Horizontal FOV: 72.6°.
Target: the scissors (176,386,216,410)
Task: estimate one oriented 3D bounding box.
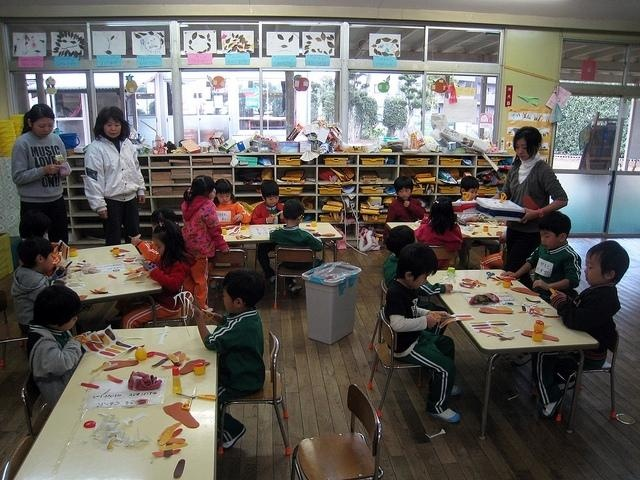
[{"bbox_3d":[-0.605,0.742,2.095,0.183,0.041,0.145,-8,15,-24],"label":"scissors"}]

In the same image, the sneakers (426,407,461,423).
[{"bbox_3d":[0.876,1.190,2.980,0.153,0.052,0.088,2,10,29],"label":"sneakers"}]

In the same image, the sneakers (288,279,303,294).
[{"bbox_3d":[-0.278,0.521,4.956,0.082,0.168,0.239,2,-15,-26],"label":"sneakers"}]

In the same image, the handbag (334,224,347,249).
[{"bbox_3d":[0.314,-0.037,6.547,0.229,0.294,0.091,-3,-1,4],"label":"handbag"}]

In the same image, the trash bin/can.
[{"bbox_3d":[0.089,0.569,3.873,0.415,0.554,0.571,12,21,35],"label":"trash bin/can"}]

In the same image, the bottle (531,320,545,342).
[{"bbox_3d":[1.337,0.542,2.670,0.064,0.101,0.172,5,16,27],"label":"bottle"}]

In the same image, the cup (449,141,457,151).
[{"bbox_3d":[2.047,-1.489,6.782,0.114,0.119,0.124,-1,12,0],"label":"cup"}]

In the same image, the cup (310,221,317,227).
[{"bbox_3d":[-0.075,-0.202,4.997,0.060,0.048,0.058,1,7,0],"label":"cup"}]

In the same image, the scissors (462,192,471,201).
[{"bbox_3d":[1.870,-0.575,5.575,0.108,0.042,0.139,2,45,24],"label":"scissors"}]

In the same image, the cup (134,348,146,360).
[{"bbox_3d":[-0.977,0.602,2.355,0.058,0.053,0.057,-4,8,1],"label":"cup"}]

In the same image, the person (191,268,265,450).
[{"bbox_3d":[-0.556,0.733,2.622,0.487,1.090,0.390,2,8,-22],"label":"person"}]

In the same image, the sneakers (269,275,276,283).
[{"bbox_3d":[-0.568,0.436,5.090,0.072,0.082,0.123,-1,15,-14],"label":"sneakers"}]
